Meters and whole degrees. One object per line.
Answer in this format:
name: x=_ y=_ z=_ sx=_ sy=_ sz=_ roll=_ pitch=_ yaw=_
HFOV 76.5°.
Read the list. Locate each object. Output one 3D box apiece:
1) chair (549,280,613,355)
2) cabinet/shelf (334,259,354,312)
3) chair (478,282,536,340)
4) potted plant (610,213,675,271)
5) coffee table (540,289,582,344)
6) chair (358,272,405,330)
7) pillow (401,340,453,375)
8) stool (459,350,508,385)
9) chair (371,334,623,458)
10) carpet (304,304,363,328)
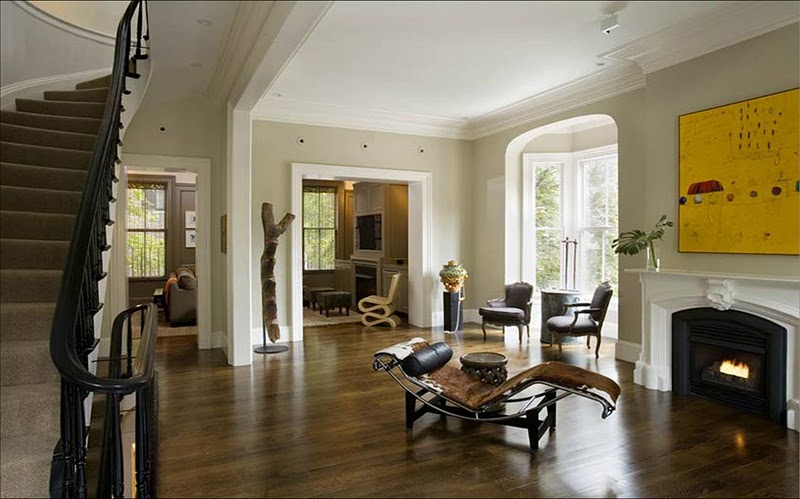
chair: x=2.873 y=1.121 z=8.264 sx=1.030 sy=1.080 sz=0.879 roll=-1 pitch=4 yaw=10
cabinet/shelf: x=-1.356 y=0.911 z=12.424 sx=0.457 sy=1.134 sz=1.235 roll=0 pitch=-3 yaw=-16
chair: x=1.993 y=1.096 z=9.159 sx=0.963 sy=0.954 sz=0.897 roll=2 pitch=-1 yaw=-27
potted plant: x=3.379 y=-0.126 z=7.044 sx=0.690 sy=0.724 sz=0.910 roll=5 pitch=11 yaw=26
coffee table: x=2.639 y=1.154 z=8.752 sx=0.886 sy=0.852 sz=0.819 roll=0 pitch=2 yaw=-43
chair: x=-0.418 y=1.048 z=10.435 sx=0.836 sy=0.971 sz=0.697 roll=2 pitch=2 yaw=21
pillow: x=0.344 y=1.299 z=5.991 sx=0.276 sy=0.293 sz=0.683 roll=10 pitch=16 yaw=40
stool: x=0.978 y=1.438 z=6.009 sx=0.531 sy=0.297 sz=0.525 roll=-6 pitch=3 yaw=-19
chair: x=0.941 y=1.537 z=5.772 sx=2.850 sy=0.898 sz=1.177 roll=0 pitch=3 yaw=25
carpet: x=-1.478 y=1.508 z=10.986 sx=1.209 sy=0.209 sz=1.696 roll=-2 pitch=9 yaw=-9
